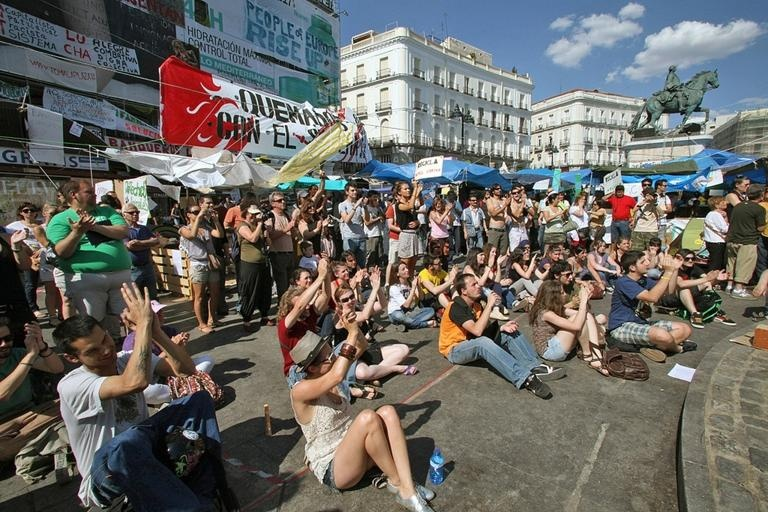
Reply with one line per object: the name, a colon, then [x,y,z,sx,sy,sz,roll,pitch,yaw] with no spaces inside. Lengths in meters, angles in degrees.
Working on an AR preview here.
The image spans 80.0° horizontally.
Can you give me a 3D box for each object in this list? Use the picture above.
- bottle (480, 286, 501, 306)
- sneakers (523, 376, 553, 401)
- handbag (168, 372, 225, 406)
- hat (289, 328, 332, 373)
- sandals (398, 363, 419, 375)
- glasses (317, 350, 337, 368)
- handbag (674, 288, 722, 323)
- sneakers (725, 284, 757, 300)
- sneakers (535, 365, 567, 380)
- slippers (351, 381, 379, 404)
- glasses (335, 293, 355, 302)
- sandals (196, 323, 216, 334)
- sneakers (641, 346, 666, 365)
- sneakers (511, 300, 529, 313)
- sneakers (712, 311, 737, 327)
bottle: [1.771,0.683,7.687,0.118,0.364,0.279,-52,5,-33]
sneakers: [2.044,1.746,6.212,0.178,0.181,0.438,-43,32,-11]
handbag: [-2.415,1.671,5.897,0.659,0.294,0.686,1,-5,28]
hat: [-0.817,1.006,4.909,0.390,0.153,0.342,-43,21,11]
sandals: [0.351,1.683,6.733,0.232,0.139,0.080,2,-29,13]
glasses: [-0.640,1.142,5.011,0.188,0.057,0.187,1,6,22]
handbag: [5.648,0.843,8.109,0.709,0.301,0.531,26,-33,-33]
sneakers: [7.255,0.756,9.309,0.511,0.224,0.224,2,5,14]
sneakers: [2.307,1.634,6.454,0.563,0.242,0.191,-6,-2,12]
slippers: [-0.242,1.839,6.254,0.381,0.392,0.182,-3,28,3]
glasses: [-0.572,0.648,6.860,0.142,0.058,0.186,-6,-6,-36]
sandals: [-3.137,1.268,8.078,0.285,0.197,0.135,4,10,21]
sneakers: [4.022,1.476,6.838,0.177,0.073,0.315,-22,18,-19]
sneakers: [2.652,1.007,8.946,0.189,0.149,0.343,3,-25,-28]
sneakers: [5.992,1.125,8.157,0.164,0.211,0.456,-4,5,-19]
